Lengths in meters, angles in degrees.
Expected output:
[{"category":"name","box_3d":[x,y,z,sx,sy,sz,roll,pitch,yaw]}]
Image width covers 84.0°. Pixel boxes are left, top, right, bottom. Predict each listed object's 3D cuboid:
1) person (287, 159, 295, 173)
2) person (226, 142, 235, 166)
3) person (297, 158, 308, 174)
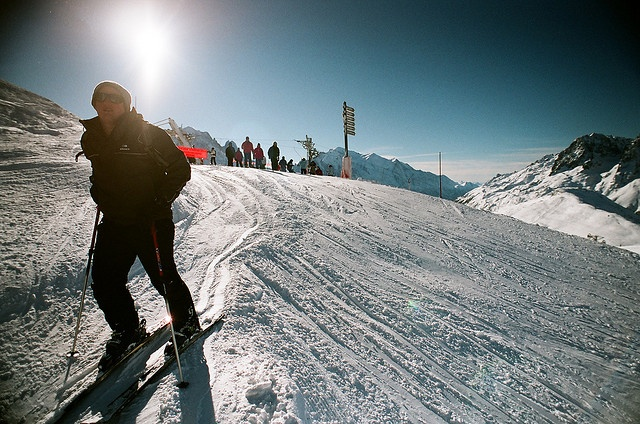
[{"category":"person","box_3d":[-2.145,-3.358,25.895,0.465,0.779,0.246,-4,13,-45]},{"category":"person","box_3d":[-5.538,-3.585,21.935,0.523,1.401,2.077,3,10,-15]},{"category":"person","box_3d":[-1.145,-3.249,25.003,0.478,0.996,1.555,5,10,0]}]
